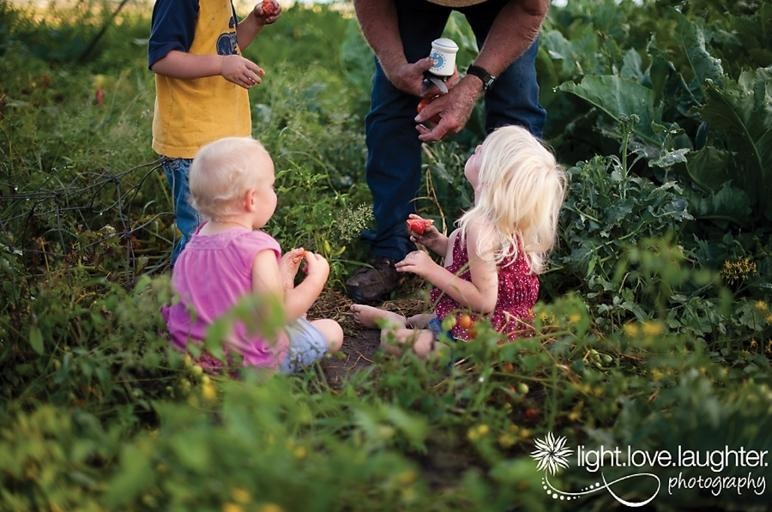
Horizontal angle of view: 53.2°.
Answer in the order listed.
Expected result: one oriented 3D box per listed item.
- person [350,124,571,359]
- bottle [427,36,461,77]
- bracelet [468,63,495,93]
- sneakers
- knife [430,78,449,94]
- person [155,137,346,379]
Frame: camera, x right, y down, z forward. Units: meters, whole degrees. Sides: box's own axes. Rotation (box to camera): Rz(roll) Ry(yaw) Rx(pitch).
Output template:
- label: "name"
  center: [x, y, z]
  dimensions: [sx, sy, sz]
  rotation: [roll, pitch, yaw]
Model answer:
- label: "person"
  center: [0.349, -0.093, 4.013]
  dimensions: [1.003, 1.170, 0.737]
  rotation: [11, 7, 12]
- label: "bottle"
  center: [0.313, -1.072, 4.147]
  dimensions: [0.147, 0.179, 0.158]
  rotation: [20, 25, 28]
- label: "bracelet"
  center: [0.518, -0.979, 4.244]
  dimensions: [0.098, 0.160, 0.165]
  rotation: [-55, 18, -6]
- label: "sneakers"
  center: [-0.028, 0.118, 4.625]
  dimensions: [0.208, 0.262, 0.556]
  rotation: [10, 19, 28]
- label: "knife"
  center: [0.293, -0.916, 4.159]
  dimensions: [0.082, 0.094, 0.080]
  rotation: [-13, 42, 5]
- label: "person"
  center: [-0.642, 0.005, 3.868]
  dimensions: [0.806, 1.157, 0.786]
  rotation: [-4, 17, -30]
